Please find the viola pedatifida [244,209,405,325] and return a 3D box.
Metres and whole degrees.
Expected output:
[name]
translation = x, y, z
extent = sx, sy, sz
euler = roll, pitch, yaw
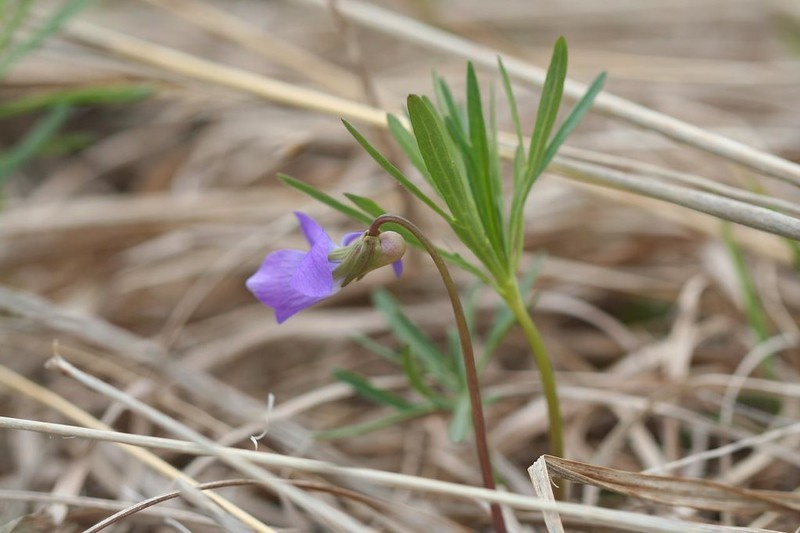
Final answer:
[viola pedatifida]
translation = -0.208, -0.033, 3.265
extent = 0.476, 0.370, 0.166
euler = -7, 77, 21
